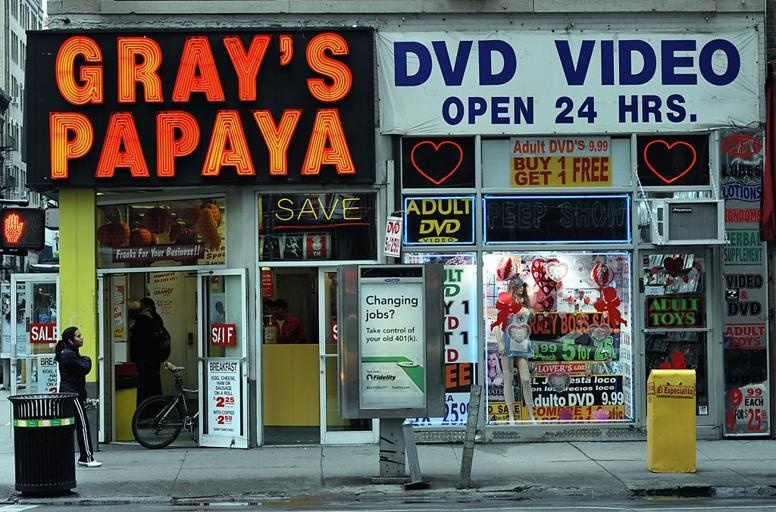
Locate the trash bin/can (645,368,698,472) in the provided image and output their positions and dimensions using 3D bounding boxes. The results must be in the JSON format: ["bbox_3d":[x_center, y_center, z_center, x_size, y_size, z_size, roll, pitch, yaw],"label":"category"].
[{"bbox_3d":[5.027,2.880,25.572,0.866,1.788,0.712,-3,-2,-9],"label":"trash bin/can"}]

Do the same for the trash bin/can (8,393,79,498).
[{"bbox_3d":[-6.110,3.313,25.321,1.221,1.755,1.152,1,-5,-17],"label":"trash bin/can"}]

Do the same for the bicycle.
[{"bbox_3d":[-4.354,2.990,27.908,1.299,1.401,0.635,-8,15,-23],"label":"bicycle"}]

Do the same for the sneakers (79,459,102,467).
[{"bbox_3d":[-5.500,3.815,26.502,0.408,0.161,0.150,0,-2,-2],"label":"sneakers"}]

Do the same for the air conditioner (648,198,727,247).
[{"bbox_3d":[5.741,-0.679,27.437,1.384,0.869,0.426,0,14,8],"label":"air conditioner"}]

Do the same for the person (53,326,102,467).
[{"bbox_3d":[-5.783,2.583,26.570,0.872,2.503,1.094,0,-1,10],"label":"person"}]
